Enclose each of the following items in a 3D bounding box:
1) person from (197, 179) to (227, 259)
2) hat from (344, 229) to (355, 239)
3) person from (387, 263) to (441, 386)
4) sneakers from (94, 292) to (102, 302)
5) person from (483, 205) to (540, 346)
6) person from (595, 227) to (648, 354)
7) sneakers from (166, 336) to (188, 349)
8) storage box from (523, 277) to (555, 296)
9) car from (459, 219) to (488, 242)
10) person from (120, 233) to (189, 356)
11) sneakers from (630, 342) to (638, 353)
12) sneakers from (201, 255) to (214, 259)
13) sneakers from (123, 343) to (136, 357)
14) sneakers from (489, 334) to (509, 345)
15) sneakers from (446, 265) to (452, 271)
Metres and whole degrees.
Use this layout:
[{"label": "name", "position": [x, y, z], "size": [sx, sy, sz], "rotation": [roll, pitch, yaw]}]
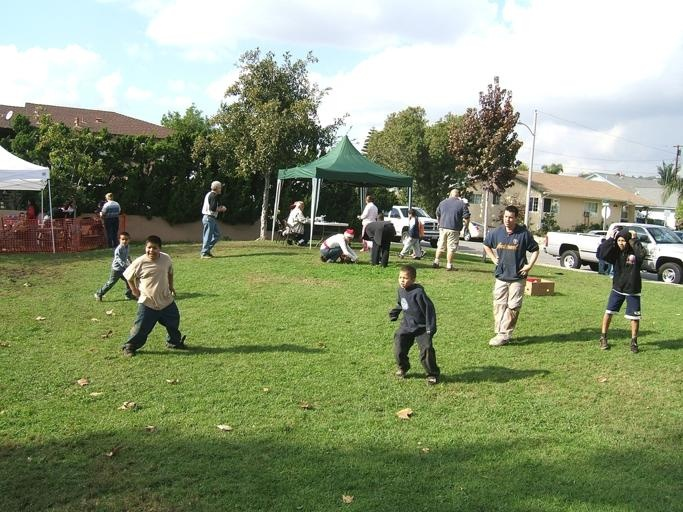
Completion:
[{"label": "person", "position": [-4.446, -1.350, 20.074], "size": [1.027, 3.237, 1.366], "rotation": [-4, 48, -18]}, {"label": "hat", "position": [0.187, -0.545, 16.137], "size": [0.201, 0.326, 0.578], "rotation": [3, 13, 10]}, {"label": "person", "position": [1.050, 0.905, 8.067], "size": [0.724, 1.565, 0.565], "rotation": [9, 15, 33]}, {"label": "sneakers", "position": [-4.652, 0.798, 11.261], "size": [0.103, 0.195, 0.145], "rotation": [-23, -11, 39]}, {"label": "person", "position": [2.679, 0.308, 9.420], "size": [0.818, 2.202, 0.790], "rotation": [4, 13, 14]}, {"label": "person", "position": [4.451, 0.550, 9.414], "size": [0.690, 1.855, 0.954], "rotation": [7, 14, 27]}, {"label": "sneakers", "position": [-2.489, 1.320, 8.950], "size": [0.288, 0.289, 0.135], "rotation": [19, -24, -39]}, {"label": "storage box", "position": [4.338, 0.700, 13.141], "size": [0.596, 0.293, 0.618], "rotation": [0, 4, -2]}, {"label": "car", "position": [7.790, -1.334, 35.441], "size": [1.885, 1.455, 4.264], "rotation": [2, 8, 14]}, {"label": "person", "position": [-2.802, 0.556, 8.757], "size": [0.876, 1.714, 0.649], "rotation": [-3, 13, -17]}, {"label": "sneakers", "position": [4.573, 1.436, 9.199], "size": [0.076, 0.100, 0.217], "rotation": [-2, -9, 19]}, {"label": "sneakers", "position": [-3.699, 0.039, 16.290], "size": [0.292, 0.134, 0.104], "rotation": [-7, -2, 29]}, {"label": "sneakers", "position": [-3.100, 1.384, 8.611], "size": [0.121, 0.210, 0.211], "rotation": [3, -17, -4]}, {"label": "sneakers", "position": [2.501, 1.335, 9.386], "size": [0.280, 0.145, 0.157], "rotation": [-1, 5, 10]}, {"label": "sneakers", "position": [2.836, 0.331, 15.570], "size": [0.112, 0.143, 0.324], "rotation": [-1, -6, 20]}]
